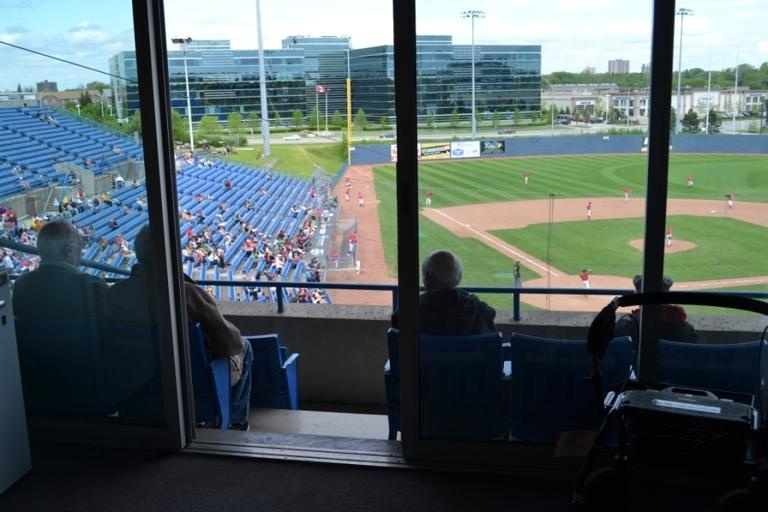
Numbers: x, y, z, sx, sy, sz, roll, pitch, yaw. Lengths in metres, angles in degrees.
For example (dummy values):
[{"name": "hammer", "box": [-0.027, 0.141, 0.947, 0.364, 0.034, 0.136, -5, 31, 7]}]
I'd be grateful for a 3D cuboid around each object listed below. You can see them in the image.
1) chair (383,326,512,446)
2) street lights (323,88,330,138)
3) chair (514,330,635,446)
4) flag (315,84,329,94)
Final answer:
[{"name": "chair", "box": [0.426, 0.647, 3.691, 0.604, 0.719, 0.595, 0, 13, 9]}, {"name": "street lights", "box": [-2.892, -7.213, 32.481, 0.486, 2.158, 0.458, -8, 37, -17]}, {"name": "chair", "box": [0.941, 0.640, 3.594, 0.583, 0.681, 0.587, 1, 7, 10]}, {"name": "flag", "box": [-2.952, -7.883, 31.107, 0.575, 0.146, 0.586, 11, 42, -5]}]
